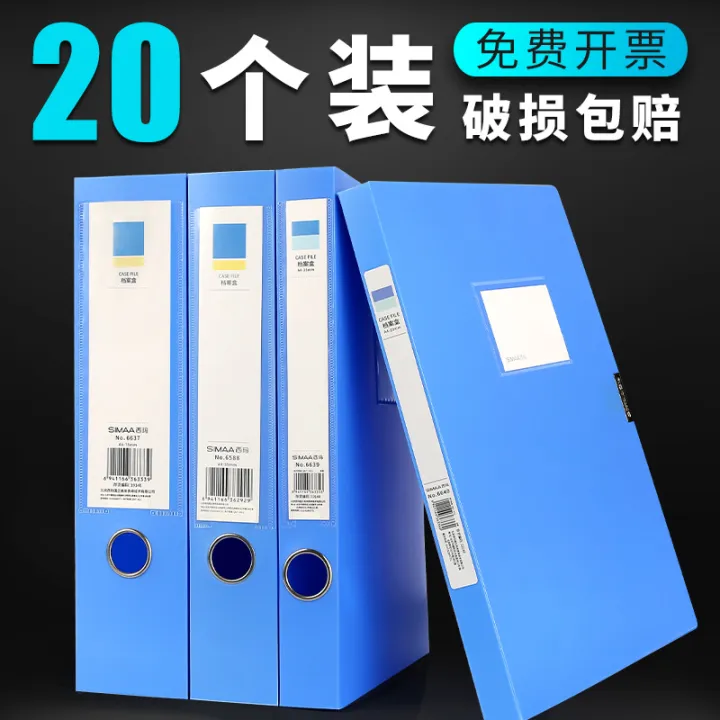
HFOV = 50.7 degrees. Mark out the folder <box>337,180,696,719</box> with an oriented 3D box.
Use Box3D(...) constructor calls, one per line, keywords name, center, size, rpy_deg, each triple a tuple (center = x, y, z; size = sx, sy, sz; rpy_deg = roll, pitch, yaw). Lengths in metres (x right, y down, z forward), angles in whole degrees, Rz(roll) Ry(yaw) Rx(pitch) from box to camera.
Box3D(name="folder", center=(0.210, 0.062, 0.926), size=(0.336, 0.571, 0.371), rpy_deg=(-15, 24, -15))
